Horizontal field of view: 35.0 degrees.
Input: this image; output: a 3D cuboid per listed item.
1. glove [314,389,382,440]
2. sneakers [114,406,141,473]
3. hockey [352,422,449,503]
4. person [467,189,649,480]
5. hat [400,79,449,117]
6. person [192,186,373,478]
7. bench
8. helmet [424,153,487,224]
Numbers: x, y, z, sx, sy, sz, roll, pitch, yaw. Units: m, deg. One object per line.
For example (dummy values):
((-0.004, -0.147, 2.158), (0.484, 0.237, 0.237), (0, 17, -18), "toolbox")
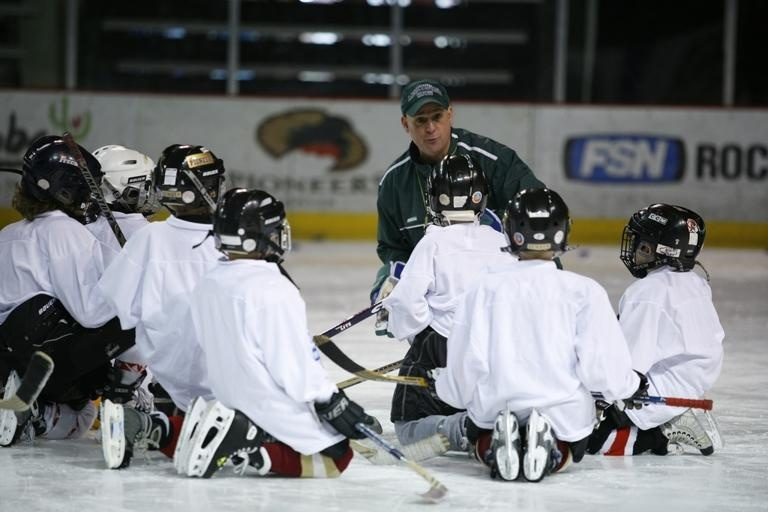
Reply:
((-0.247, 1.054, 8.053), (0.436, 0.239, 0.171), (45, -10, -15), "glove")
((-1.711, 1.222, 8.182), (0.179, 0.425, 0.140), (7, -2, -10), "sneakers")
((0.153, 1.337, 7.954), (0.859, 0.308, 0.126), (44, 18, 28), "hockey")
((1.051, 0.513, 8.121), (1.184, 1.945, 0.299), (1, 3, 2), "person")
((0.327, -1.236, 9.445), (0.363, 0.293, 0.251), (1, 2, 2), "hat")
((-0.738, 0.513, 8.028), (1.062, 1.919, 0.332), (0, 3, -2), "person")
((-1.159, -3.156, 18.337), (6.223, 1.388, 0.977), (0, 2, -6), "bench")
((0.523, -0.456, 8.741), (0.360, 0.438, 0.495), (-1, -5, -2), "helmet")
